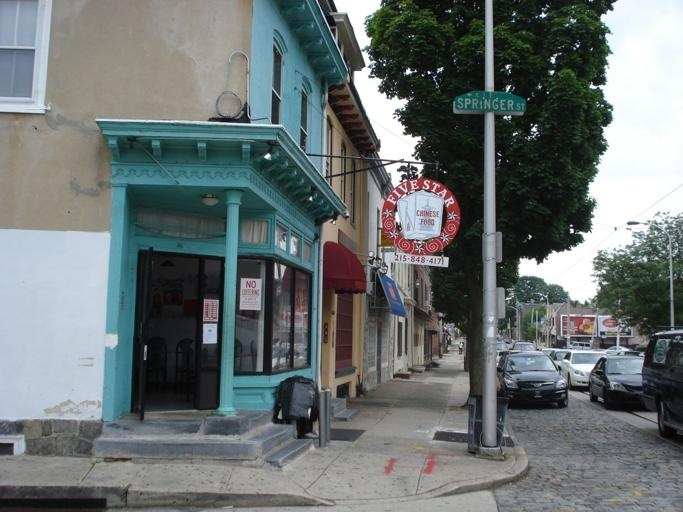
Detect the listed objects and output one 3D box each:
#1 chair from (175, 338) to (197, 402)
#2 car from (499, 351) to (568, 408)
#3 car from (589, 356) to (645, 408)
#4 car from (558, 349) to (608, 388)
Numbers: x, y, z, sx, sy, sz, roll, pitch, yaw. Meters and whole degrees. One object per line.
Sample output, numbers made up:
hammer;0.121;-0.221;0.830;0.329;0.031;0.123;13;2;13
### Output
chair;-3.727;2.573;17.714;0.654;1.101;0.754;-2;-8;6
car;6.063;4.009;23.558;2.056;1.596;2.378;-2;-7;11
car;8.590;3.914;22.932;1.415;1.616;2.786;-2;-8;17
car;9.440;4.428;29.025;1.265;0.977;2.870;-3;-15;9
